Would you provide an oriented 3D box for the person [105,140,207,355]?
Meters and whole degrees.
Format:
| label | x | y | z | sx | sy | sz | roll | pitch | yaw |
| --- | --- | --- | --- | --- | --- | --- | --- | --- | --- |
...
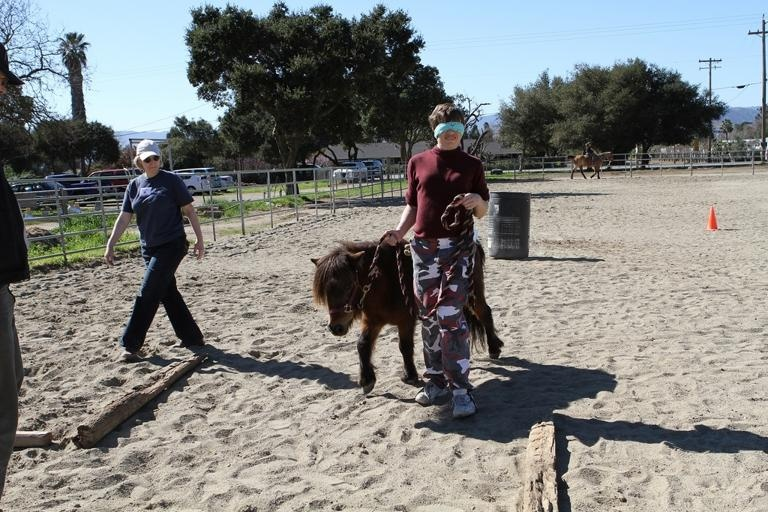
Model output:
| label | x | y | z | sx | sy | sz | roll | pitch | yaw |
| --- | --- | --- | --- | --- | --- | --- | --- | --- | --- |
| person | -2.566 | -0.102 | 7.539 | 1.005 | 2.376 | 0.672 | -6 | 11 | -16 |

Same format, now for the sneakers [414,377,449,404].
| label | x | y | z | sx | sy | sz | roll | pitch | yaw |
| --- | --- | --- | --- | --- | --- | --- | --- | --- | --- |
| sneakers | 0.471 | 1.297 | 6.424 | 0.176 | 0.184 | 0.372 | 0 | 0 | 39 |

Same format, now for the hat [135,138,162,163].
| label | x | y | z | sx | sy | sz | roll | pitch | yaw |
| --- | --- | --- | --- | --- | --- | --- | --- | --- | --- |
| hat | -2.615 | -1.161 | 7.364 | 0.210 | 0.191 | 0.323 | -4 | 3 | -23 |

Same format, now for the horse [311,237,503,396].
| label | x | y | z | sx | sy | sz | roll | pitch | yaw |
| --- | --- | --- | --- | --- | --- | --- | --- | --- | --- |
| horse | 0.354 | 0.579 | 7.033 | 2.526 | 1.605 | 0.774 | -8 | 3 | -44 |

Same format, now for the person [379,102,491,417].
| label | x | y | z | sx | sy | sz | roll | pitch | yaw |
| --- | --- | --- | --- | --- | --- | --- | --- | --- | --- |
| person | 0.544 | 0.059 | 6.098 | 0.819 | 2.819 | 0.555 | -1 | 10 | 10 |
